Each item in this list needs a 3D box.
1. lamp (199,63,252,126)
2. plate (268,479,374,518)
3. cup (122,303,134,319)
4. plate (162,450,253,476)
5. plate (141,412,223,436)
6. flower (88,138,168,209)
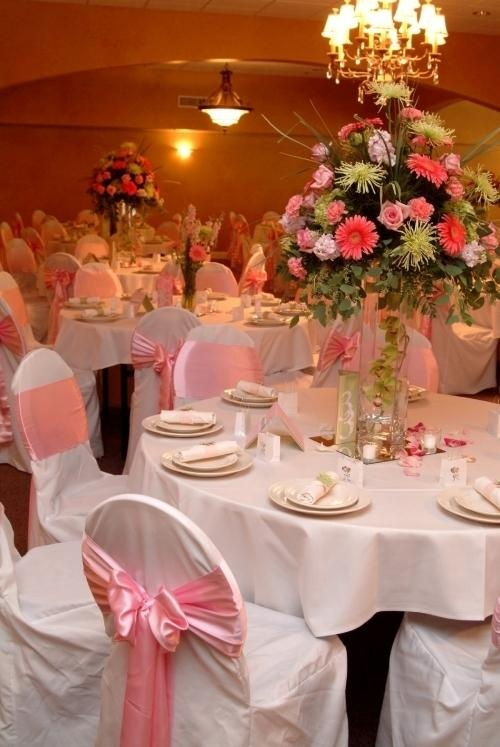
[{"bbox_3d":[-0.389,-4.439,9.007,0.741,0.983,0.755,0,15,-3],"label":"lamp"},{"bbox_3d":[0.170,0.303,1.369,0.248,0.035,0.199,1,12,5],"label":"plate"},{"bbox_3d":[-0.872,-0.447,3.994,0.095,0.111,0.098,2,5,0],"label":"cup"},{"bbox_3d":[-0.123,0.262,1.605,0.264,0.042,0.176,-2,12,-9],"label":"plate"},{"bbox_3d":[-0.246,0.170,1.952,0.285,0.070,0.184,2,12,11],"label":"plate"},{"bbox_3d":[-1.356,-2.046,5.975,0.689,0.752,0.701,4,11,14],"label":"flower"}]
